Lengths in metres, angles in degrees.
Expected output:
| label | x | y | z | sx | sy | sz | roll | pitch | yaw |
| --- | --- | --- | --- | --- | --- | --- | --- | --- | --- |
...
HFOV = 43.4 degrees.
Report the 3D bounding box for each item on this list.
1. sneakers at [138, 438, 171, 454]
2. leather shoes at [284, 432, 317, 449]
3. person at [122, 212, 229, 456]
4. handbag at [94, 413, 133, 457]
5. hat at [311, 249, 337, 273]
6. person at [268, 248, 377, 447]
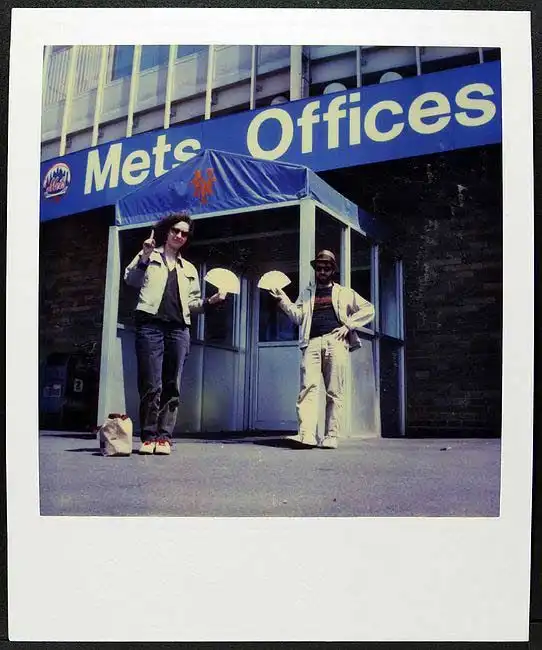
| label | x | y | z | sx | sy | sz | roll | pitch | yaw |
| --- | --- | --- | --- | --- | --- | --- | --- | --- | --- |
| sneakers | -0.692 | 0.749 | 4.158 | 0.089 | 0.069 | 0.169 | 2 | -17 | 0 |
| leather shoes | 0.185 | 0.735 | 4.292 | 0.202 | 0.146 | 0.074 | -10 | -18 | 16 |
| person | -0.662 | 0.008 | 4.401 | 0.468 | 1.610 | 0.463 | 6 | -10 | -31 |
| handbag | -0.924 | 0.685 | 4.106 | 0.238 | 0.302 | 0.209 | 5 | -24 | -24 |
| hat | 0.364 | -0.425 | 4.490 | 0.117 | 0.080 | 0.150 | 10 | -26 | 10 |
| person | 0.345 | 0.149 | 4.383 | 0.639 | 1.265 | 0.342 | 1 | -8 | 0 |
